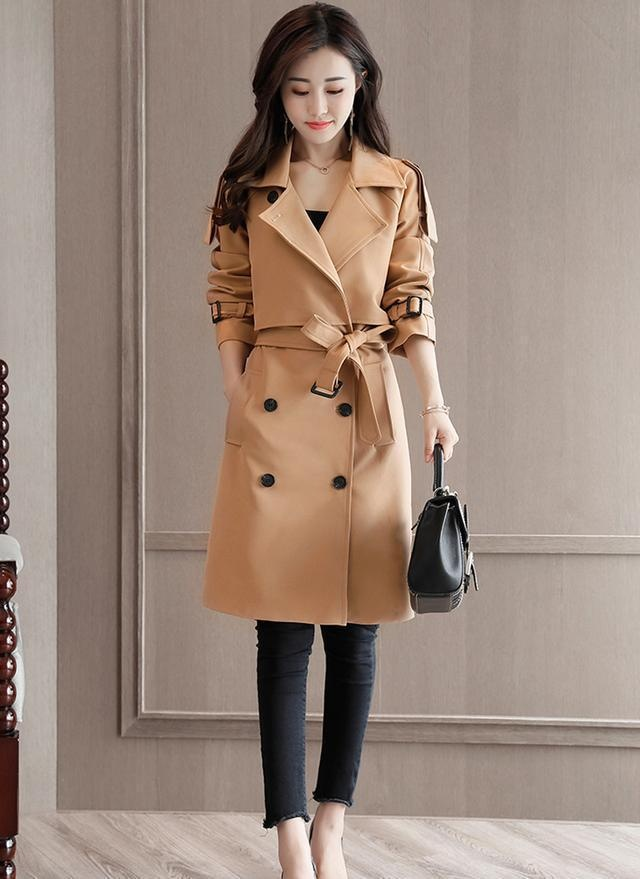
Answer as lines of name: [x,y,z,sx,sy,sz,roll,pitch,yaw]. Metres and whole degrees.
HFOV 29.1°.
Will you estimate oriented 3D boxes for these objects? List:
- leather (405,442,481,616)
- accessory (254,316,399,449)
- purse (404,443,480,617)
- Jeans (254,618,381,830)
leather: [0.224,0.181,2.294,0.122,0.329,0.177,1,4,7]
accessory: [0.010,-0.113,2.373,0.266,0.253,0.152,1,4,0]
purse: [0.224,0.181,2.294,0.122,0.329,0.177,1,4,7]
Jeans: [0.004,0.533,2.355,0.240,0.368,0.188,0,5,-11]
